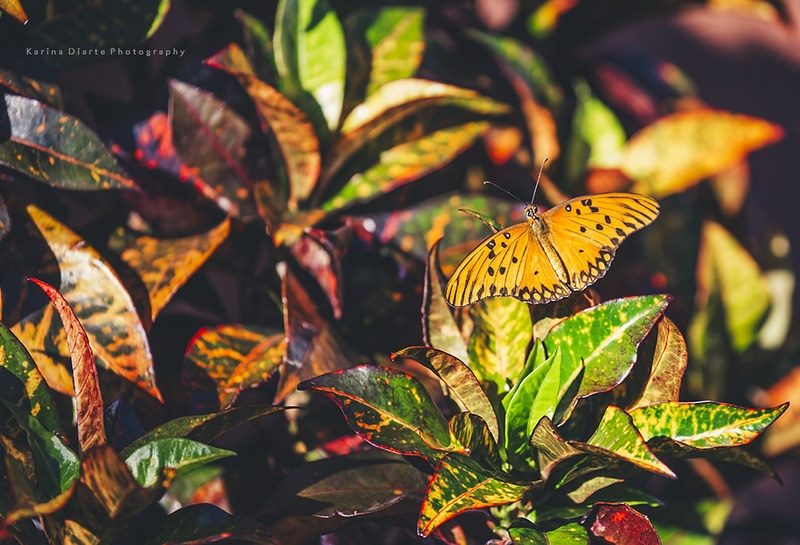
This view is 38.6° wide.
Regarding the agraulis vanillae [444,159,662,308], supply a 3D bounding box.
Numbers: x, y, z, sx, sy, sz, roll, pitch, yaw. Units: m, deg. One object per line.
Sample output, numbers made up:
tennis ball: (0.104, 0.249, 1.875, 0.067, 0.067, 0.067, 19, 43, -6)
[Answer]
agraulis vanillae: (0.160, -0.035, 1.215, 0.160, 0.166, 0.174, 11, 8, 40)
